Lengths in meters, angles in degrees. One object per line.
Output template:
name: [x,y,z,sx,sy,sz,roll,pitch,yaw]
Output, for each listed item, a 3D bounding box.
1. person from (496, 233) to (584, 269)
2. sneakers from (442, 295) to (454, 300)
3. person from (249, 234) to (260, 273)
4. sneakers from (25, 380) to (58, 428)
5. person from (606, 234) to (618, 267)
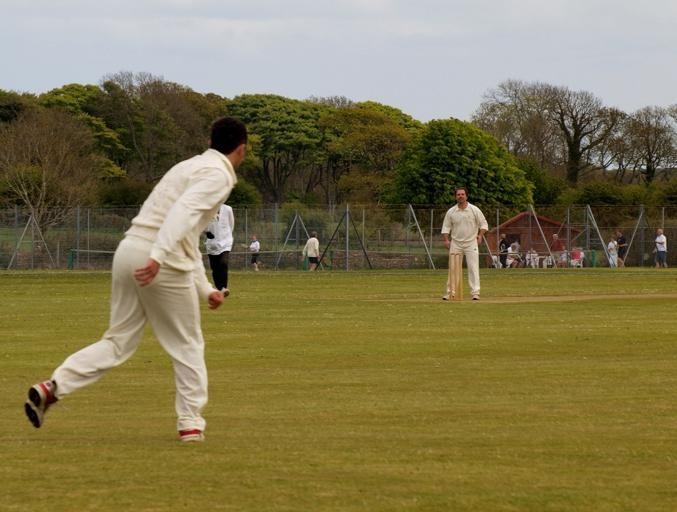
person: [6.992,-0.155,40.828,2.349,1.098,0.990,-2,5,-2]
sneakers: [1.902,0.723,19.942,0.211,0.088,0.070,5,3,15]
person: [-2.937,-0.083,40.001,0.401,1.200,1.285,-3,5,-4]
sneakers: [-2.510,1.287,9.687,0.214,0.180,0.497,-19,-31,-19]
person: [9.799,-0.073,40.974,0.459,0.905,0.397,2,6,42]
